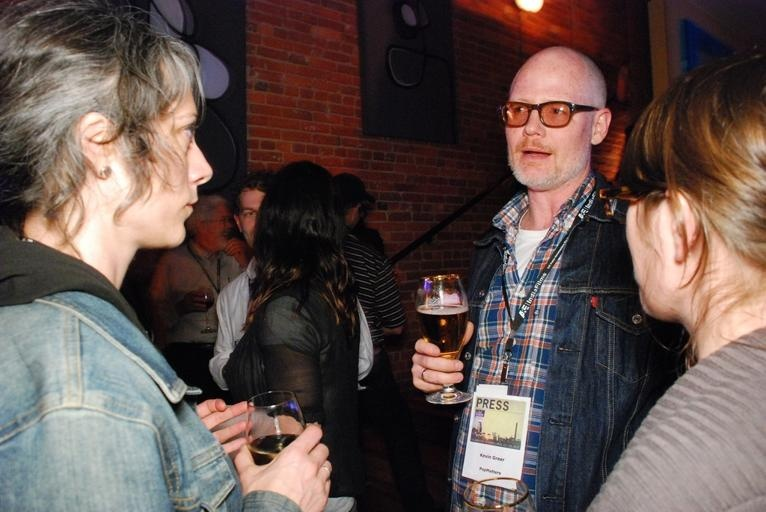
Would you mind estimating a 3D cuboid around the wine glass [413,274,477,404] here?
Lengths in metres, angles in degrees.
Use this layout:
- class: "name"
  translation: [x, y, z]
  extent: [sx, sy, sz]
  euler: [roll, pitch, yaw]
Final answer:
- class: "wine glass"
  translation: [0.195, 0.290, 1.860]
  extent: [0.196, 0.393, 0.313]
  euler: [6, 2, 12]

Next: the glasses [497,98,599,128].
- class: "glasses"
  translation: [0.608, -0.544, 2.202]
  extent: [0.203, 0.059, 0.202]
  euler: [3, 4, 35]

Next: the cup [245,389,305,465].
- class: "cup"
  translation: [-0.270, 0.432, 1.520]
  extent: [0.163, 0.211, 0.177]
  euler: [-7, -6, -1]
